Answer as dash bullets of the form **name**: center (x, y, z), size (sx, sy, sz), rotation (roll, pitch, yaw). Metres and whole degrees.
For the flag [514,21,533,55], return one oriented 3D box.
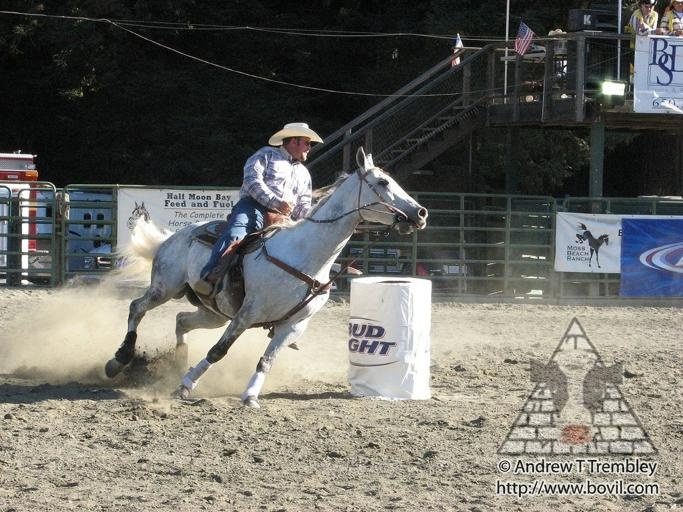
- **flag**: center (4.043, -4.728, 30.732), size (0.389, 0.564, 0.884), rotation (2, -1, 6)

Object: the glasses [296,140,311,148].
- **glasses**: center (-0.588, -1.810, 23.106), size (0.146, 0.123, 0.110), rotation (-5, 8, 2)
